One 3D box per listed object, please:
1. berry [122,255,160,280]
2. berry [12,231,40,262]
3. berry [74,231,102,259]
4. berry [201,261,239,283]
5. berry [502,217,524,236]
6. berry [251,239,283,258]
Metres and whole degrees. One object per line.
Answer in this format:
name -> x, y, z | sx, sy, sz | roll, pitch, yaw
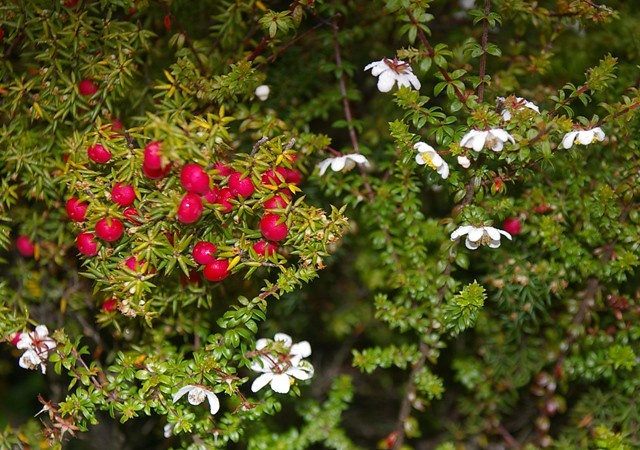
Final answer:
berry -> -0.718, 0.171, 2.602 | 0.139, 0.121, 0.075 | 12, 61, -1
berry -> -1.431, 0.100, 3.171 | 0.091, 0.094, 0.114 | -35, 102, 4
berry -> -0.949, 0.082, 2.647 | 0.087, 0.088, 0.116 | -7, 95, -35
berry -> -0.414, 0.201, 2.637 | 0.103, 0.067, 0.072 | -25, 28, -35
berry -> 0.861, 0.005, 2.897 | 0.084, 0.073, 0.072 | 36, 21, 1
berry -> -0.223, 0.096, 2.673 | 0.056, 0.084, 0.052 | -11, 82, 18
